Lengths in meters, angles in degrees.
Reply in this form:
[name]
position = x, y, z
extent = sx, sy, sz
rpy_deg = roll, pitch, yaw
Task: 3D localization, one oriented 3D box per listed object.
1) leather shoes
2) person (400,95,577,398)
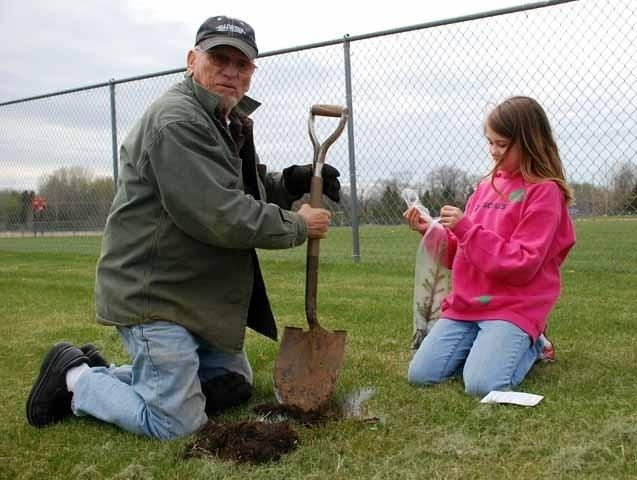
[leather shoes]
position = -1.361, 0.710, 3.961
extent = 0.227, 0.224, 0.615
rpy_deg = -7, 45, 22
[person]
position = 0.993, -0.005, 4.157
extent = 0.886, 1.570, 0.635
rpy_deg = -11, 14, -41
